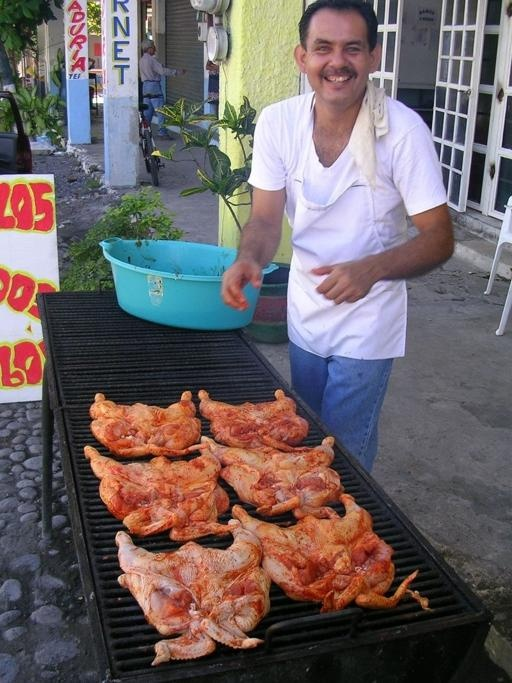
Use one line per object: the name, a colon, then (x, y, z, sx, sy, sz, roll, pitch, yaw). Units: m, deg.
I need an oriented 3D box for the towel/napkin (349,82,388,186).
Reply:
towel/napkin: (0.363, -0.655, 1.731, 0.111, 0.322, 0.198, 7, 20, 15)
